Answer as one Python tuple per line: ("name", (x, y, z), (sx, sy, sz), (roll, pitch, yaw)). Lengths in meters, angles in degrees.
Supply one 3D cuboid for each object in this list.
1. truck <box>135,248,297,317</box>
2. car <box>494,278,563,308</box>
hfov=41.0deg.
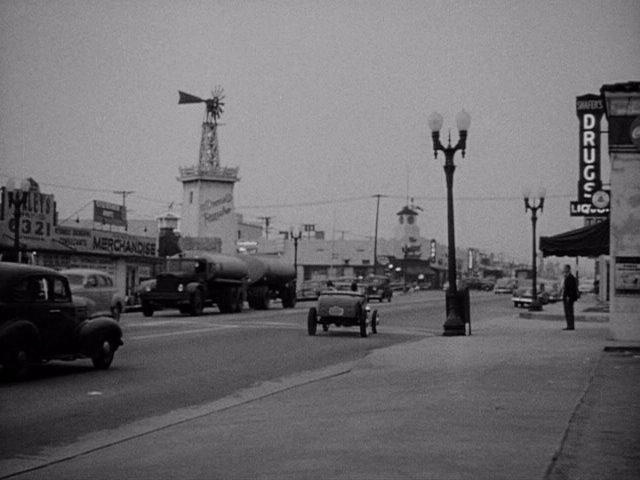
("truck", (-5.022, 2.183, 42.044), (2.720, 2.730, 9.381), (-3, -7, 22))
("car", (14.967, 3.805, 61.729), (2.159, 2.109, 5.737), (-3, -6, 22))
